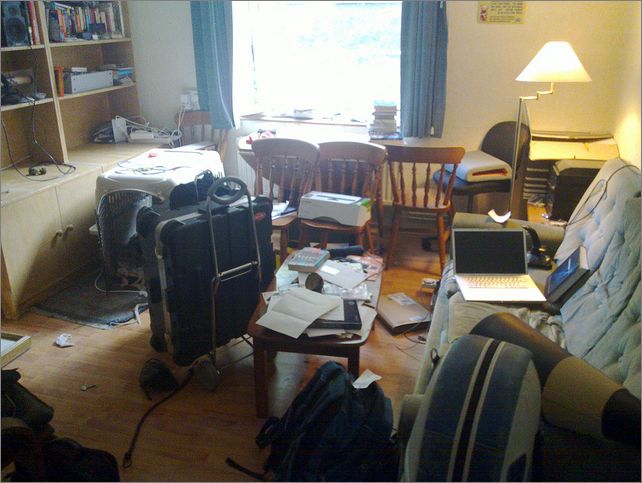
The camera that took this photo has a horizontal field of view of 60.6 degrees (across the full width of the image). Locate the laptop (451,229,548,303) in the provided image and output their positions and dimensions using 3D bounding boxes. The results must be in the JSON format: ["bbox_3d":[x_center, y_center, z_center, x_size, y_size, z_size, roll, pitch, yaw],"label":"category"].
[{"bbox_3d":[0.976,0.154,3.116,0.405,0.253,0.413,-1,28,4],"label":"laptop"}]

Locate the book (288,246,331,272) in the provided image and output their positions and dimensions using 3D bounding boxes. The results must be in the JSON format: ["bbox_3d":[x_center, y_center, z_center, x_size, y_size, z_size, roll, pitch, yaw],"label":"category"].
[{"bbox_3d":[-0.082,0.105,3.216,0.135,0.037,0.189,10,30,20],"label":"book"}]

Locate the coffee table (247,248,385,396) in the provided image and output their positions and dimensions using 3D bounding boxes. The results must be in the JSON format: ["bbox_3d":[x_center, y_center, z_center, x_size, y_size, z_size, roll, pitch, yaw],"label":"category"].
[{"bbox_3d":[-0.044,0.481,2.826,0.555,0.423,0.841,0,40,1],"label":"coffee table"}]

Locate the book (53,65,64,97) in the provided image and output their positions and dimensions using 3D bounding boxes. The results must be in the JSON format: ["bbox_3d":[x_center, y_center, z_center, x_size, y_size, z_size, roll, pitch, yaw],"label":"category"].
[{"bbox_3d":[-1.994,-1.230,4.166,0.050,0.199,0.183,-3,9,-10],"label":"book"}]

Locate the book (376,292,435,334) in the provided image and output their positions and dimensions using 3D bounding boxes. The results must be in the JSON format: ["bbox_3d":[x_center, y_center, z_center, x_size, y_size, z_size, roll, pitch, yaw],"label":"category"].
[{"bbox_3d":[0.529,0.461,3.589,0.230,0.057,0.247,-13,29,-22],"label":"book"}]

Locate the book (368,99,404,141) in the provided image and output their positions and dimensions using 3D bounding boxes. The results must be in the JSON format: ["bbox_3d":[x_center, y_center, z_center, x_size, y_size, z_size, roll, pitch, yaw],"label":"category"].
[{"bbox_3d":[0.498,-0.966,4.431,0.306,0.275,0.419,3,21,6],"label":"book"}]

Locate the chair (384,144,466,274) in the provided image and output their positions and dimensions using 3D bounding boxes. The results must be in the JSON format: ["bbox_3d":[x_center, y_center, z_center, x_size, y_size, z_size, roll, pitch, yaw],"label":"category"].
[{"bbox_3d":[0.786,-0.258,4.135,0.702,1.078,0.706,7,38,14],"label":"chair"}]

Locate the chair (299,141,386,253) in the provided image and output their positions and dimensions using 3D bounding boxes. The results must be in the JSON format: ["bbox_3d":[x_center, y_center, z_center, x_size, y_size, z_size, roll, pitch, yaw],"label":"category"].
[{"bbox_3d":[0.162,-0.304,3.980,0.591,0.832,0.765,3,22,8],"label":"chair"}]

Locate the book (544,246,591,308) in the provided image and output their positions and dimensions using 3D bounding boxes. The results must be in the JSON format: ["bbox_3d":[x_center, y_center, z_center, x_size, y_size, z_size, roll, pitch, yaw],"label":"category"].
[{"bbox_3d":[1.306,0.201,2.927,0.074,0.319,0.291,26,50,7],"label":"book"}]

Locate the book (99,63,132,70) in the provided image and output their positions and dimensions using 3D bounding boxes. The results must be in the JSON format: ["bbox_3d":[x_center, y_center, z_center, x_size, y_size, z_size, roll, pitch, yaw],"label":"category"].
[{"bbox_3d":[-1.838,-1.572,4.900,0.140,0.032,0.128,4,10,20],"label":"book"}]

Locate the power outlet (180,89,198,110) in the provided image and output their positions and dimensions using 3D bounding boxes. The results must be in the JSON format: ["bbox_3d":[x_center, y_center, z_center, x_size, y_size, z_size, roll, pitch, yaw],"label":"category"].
[{"bbox_3d":[-1.191,-1.288,4.950,0.166,0.159,0.128,11,30,21],"label":"power outlet"}]

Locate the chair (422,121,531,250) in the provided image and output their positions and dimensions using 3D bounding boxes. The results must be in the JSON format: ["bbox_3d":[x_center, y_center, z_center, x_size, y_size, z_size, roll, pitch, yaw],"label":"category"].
[{"bbox_3d":[1.161,-0.462,4.088,0.613,0.919,0.590,-9,39,-29],"label":"chair"}]

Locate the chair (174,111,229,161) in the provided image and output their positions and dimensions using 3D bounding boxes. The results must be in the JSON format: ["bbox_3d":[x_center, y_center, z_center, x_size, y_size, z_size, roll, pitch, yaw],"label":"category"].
[{"bbox_3d":[-1.107,-1.055,5.053,0.469,0.659,0.476,-8,26,-17],"label":"chair"}]

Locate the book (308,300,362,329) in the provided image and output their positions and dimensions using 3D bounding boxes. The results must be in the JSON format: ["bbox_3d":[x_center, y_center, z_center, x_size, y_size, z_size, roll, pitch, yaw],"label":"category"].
[{"bbox_3d":[0.067,0.373,2.786,0.249,0.069,0.217,-1,21,-2],"label":"book"}]

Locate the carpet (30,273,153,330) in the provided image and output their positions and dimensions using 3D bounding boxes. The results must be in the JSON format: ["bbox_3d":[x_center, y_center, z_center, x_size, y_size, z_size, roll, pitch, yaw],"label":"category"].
[{"bbox_3d":[-1.545,0.417,3.790,0.714,0.099,0.553,10,23,26],"label":"carpet"}]
